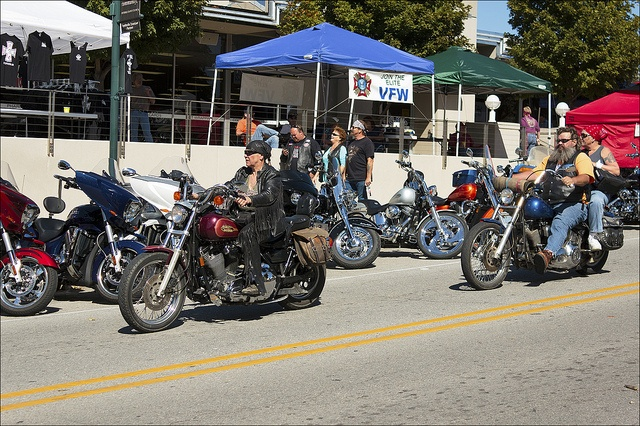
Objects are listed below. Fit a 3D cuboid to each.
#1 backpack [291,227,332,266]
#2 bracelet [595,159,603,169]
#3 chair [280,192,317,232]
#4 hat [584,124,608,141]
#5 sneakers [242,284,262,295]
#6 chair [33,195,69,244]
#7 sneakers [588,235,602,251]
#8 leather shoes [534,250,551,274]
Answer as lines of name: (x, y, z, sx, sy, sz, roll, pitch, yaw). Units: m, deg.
backpack: (-0.172, 0.509, 9.886, 0.260, 0.459, 0.560, -12, -7, 33)
bracelet: (5.720, -0.993, 13.195, 0.143, 0.204, 0.073, 14, -33, 7)
chair: (-0.324, 0.004, 10.411, 0.570, 0.669, 0.448, 0, 4, -32)
hat: (5.987, -1.742, 13.890, 0.461, 0.362, 0.363, -10, 8, -4)
sneakers: (-1.007, 1.092, 9.291, 0.202, 0.082, 0.119, 0, 17, -46)
chair: (-4.445, 0.110, 10.535, 0.542, 0.785, 0.722, 5, 4, -7)
sneakers: (4.987, 0.532, 11.680, 0.178, 0.310, 0.090, -4, -7, -7)
leather shoes: (3.792, 0.804, 10.961, 0.179, 0.218, 0.510, 17, -31, 28)
